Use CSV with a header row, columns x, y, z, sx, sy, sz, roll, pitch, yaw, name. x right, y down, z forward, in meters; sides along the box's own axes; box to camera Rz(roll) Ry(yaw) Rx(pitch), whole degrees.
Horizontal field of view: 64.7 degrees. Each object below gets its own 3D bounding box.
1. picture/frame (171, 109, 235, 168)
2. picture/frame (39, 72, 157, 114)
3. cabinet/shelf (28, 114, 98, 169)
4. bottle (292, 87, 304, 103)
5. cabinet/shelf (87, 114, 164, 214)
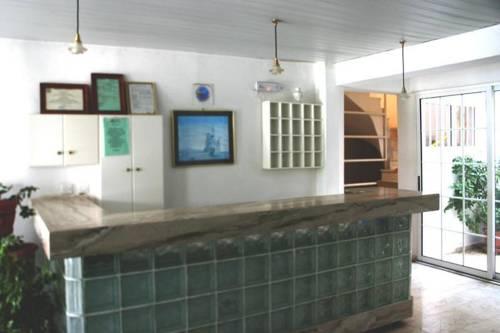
x,y,z,sx,sy,sz,roll,pitch,yaw,name
-0.825,-0.473,6.468,1.022,0.810,0.067,-3,4,-22,picture/frame
-2.249,-1.105,5.914,1.647,0.620,0.125,-3,5,-18,picture/frame
-2.730,-0.374,5.637,0.831,0.683,0.288,0,-1,-12,cabinet/shelf
0.849,-1.295,7.024,0.224,0.277,0.249,-3,3,-30,bottle
-1.769,-0.073,5.867,0.910,1.381,0.248,-3,5,-22,cabinet/shelf
